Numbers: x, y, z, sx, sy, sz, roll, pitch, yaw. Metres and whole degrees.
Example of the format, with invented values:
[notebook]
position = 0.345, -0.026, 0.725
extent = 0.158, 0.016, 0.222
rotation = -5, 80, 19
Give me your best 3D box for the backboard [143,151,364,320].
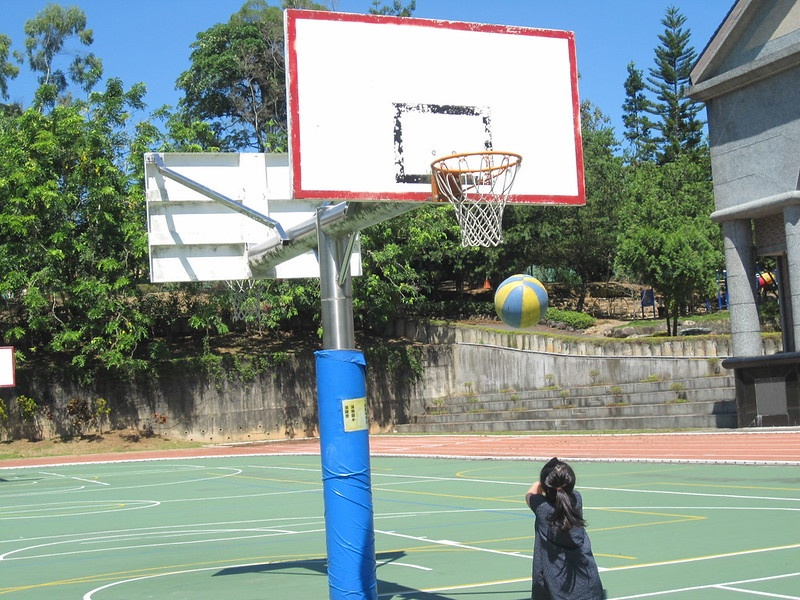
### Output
[backboard]
position = -2.567, -1.193, 16.874
extent = 3.596, 2.645, 1.926
rotation = -2, 24, -12
